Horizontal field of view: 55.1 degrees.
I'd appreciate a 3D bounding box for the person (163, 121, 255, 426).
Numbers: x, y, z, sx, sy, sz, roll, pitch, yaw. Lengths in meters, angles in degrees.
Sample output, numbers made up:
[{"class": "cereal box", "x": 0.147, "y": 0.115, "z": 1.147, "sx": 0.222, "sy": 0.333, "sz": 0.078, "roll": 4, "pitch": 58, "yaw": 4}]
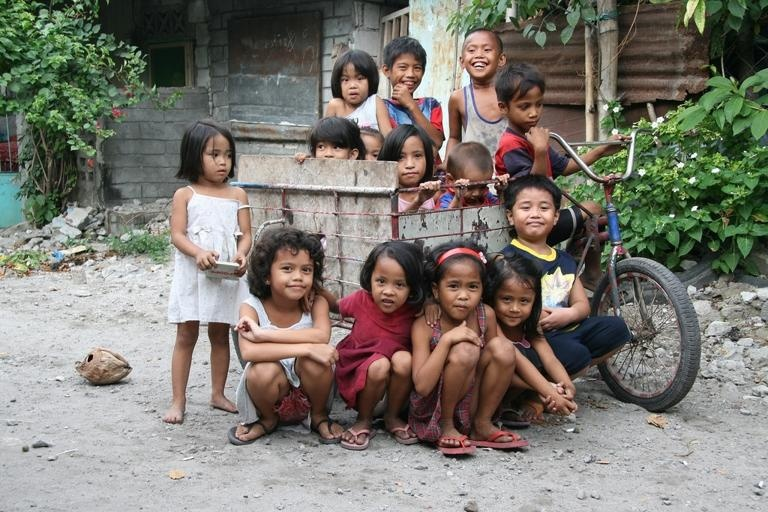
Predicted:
[{"class": "person", "x": -1.186, "y": 0.086, "z": 4.939, "sx": 0.597, "sy": 1.965, "sz": 0.502, "roll": -1, "pitch": 8, "yaw": -11}]
